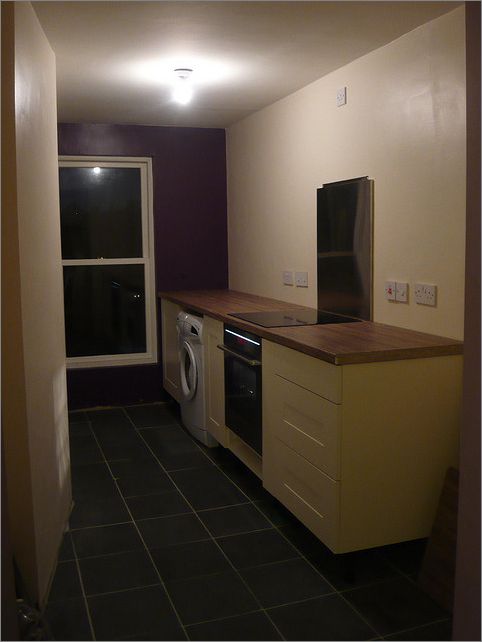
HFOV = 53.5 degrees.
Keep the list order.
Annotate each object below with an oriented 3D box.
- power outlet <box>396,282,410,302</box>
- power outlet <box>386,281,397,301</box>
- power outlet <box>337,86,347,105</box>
[{"bbox_3d":[0.805,-0.144,2.355,0.006,0.068,0.069,-1,9,-16],"label":"power outlet"},{"bbox_3d":[0.773,-0.154,2.437,0.009,0.104,0.068,-3,11,-15],"label":"power outlet"},{"bbox_3d":[0.590,-1.311,2.777,0.010,0.152,0.106,1,-1,-12],"label":"power outlet"}]
